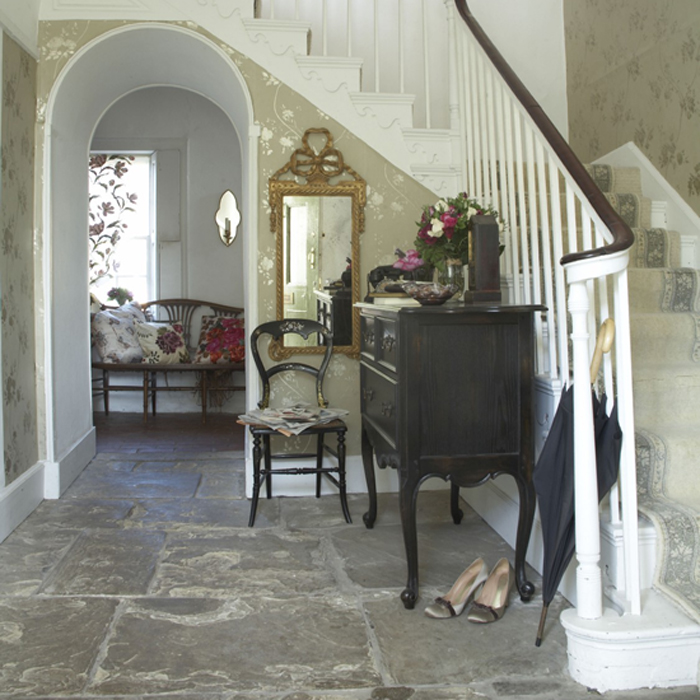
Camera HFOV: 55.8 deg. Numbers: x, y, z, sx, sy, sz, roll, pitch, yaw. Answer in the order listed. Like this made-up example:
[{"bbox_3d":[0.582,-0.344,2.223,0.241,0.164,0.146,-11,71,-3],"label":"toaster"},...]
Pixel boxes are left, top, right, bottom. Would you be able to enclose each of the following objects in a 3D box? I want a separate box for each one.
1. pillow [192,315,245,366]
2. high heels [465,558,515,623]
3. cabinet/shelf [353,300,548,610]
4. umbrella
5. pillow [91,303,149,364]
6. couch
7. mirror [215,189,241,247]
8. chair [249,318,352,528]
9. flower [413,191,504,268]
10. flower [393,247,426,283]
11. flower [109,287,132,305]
[{"bbox_3d":[-1.173,-0.110,5.974,0.413,0.389,0.477,-1,5,-12],"label":"pillow"},{"bbox_3d":[0.513,0.872,2.415,0.096,0.092,0.260,-9,27,35],"label":"high heels"},{"bbox_3d":[0.400,0.353,2.717,0.560,1.098,0.696,-1,5,-11],"label":"cabinet/shelf"},{"bbox_3d":[0.734,0.426,2.149,0.265,1.063,0.240,4,6,36],"label":"umbrella"},{"bbox_3d":[-2.065,-0.174,5.806,0.149,0.478,0.489,-17,-15,40],"label":"pillow"},{"bbox_3d":[-1.569,0.117,6.022,1.491,1.032,0.532,2,7,-13],"label":"couch"},{"bbox_3d":[-1.168,-1.269,6.295,0.236,0.514,0.057,1,5,11],"label":"mirror"},{"bbox_3d":[-0.291,0.335,3.543,0.574,1.002,0.729,0,5,-1],"label":"chair"},{"bbox_3d":[0.456,-0.483,2.869,0.333,0.308,0.335,3,7,38],"label":"flower"},{"bbox_3d":[0.262,-0.383,2.890,0.161,0.166,0.157,-3,19,-7],"label":"flower"},{"bbox_3d":[-2.183,-0.525,6.284,0.165,0.170,0.167,-2,7,-31],"label":"flower"}]
